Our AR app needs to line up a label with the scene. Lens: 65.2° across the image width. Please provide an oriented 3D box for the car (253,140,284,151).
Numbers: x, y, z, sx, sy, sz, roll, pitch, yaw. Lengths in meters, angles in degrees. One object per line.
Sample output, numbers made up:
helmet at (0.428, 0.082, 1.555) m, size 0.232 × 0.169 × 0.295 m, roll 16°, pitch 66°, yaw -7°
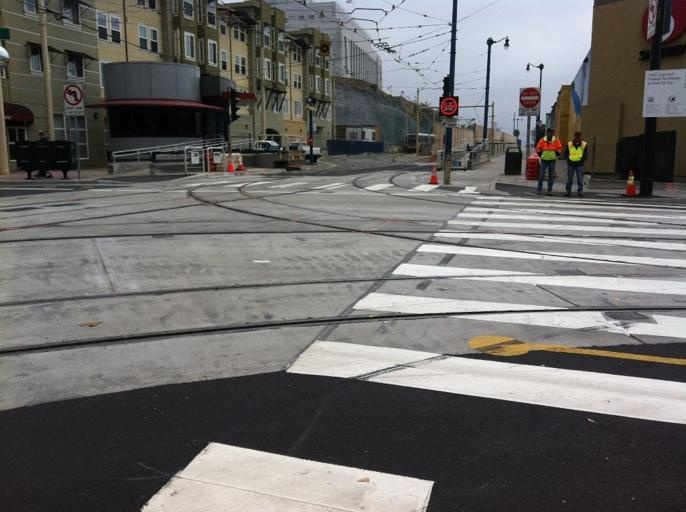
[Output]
car at (-5.420, -8.020, 39.049) m, size 2.083 × 1.039 × 1.227 m, roll -8°, pitch 24°, yaw -10°

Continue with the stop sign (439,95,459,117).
stop sign at (4.465, -6.362, 22.583) m, size 0.707 × 0.880 × 1.037 m, roll 3°, pitch 13°, yaw 14°

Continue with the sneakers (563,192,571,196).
sneakers at (7.469, -2.101, 17.885) m, size 0.184 × 0.191 × 0.115 m, roll 7°, pitch 10°, yaw 38°

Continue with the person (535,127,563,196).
person at (6.931, -3.257, 18.219) m, size 0.750 × 2.177 × 1.403 m, roll 5°, pitch 13°, yaw 20°
